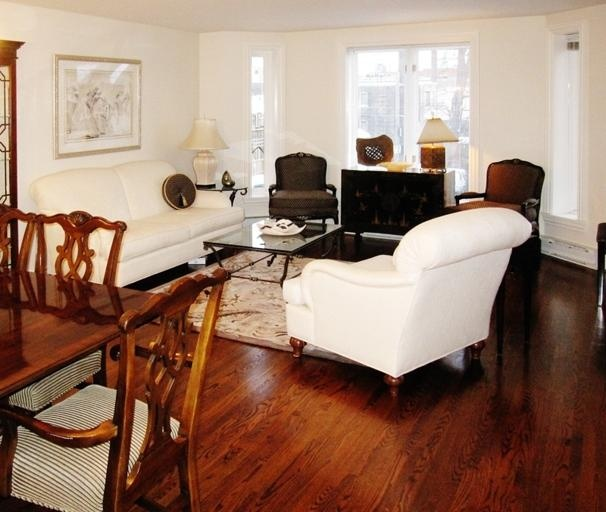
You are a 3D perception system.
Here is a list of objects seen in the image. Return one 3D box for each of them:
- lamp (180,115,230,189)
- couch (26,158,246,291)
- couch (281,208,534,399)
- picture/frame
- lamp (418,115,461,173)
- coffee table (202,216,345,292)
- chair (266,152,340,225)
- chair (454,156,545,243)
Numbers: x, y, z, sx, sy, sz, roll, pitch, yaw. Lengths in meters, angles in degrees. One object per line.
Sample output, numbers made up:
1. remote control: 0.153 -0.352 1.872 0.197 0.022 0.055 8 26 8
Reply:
1. lamp: -1.352 -1.397 6.362 0.590 0.894 0.623 3 11 10
2. couch: -1.759 -0.444 5.255 1.211 1.190 2.275 4 14 22
3. couch: 0.652 0.193 3.101 1.481 1.132 1.422 5 15 26
4. picture/frame: -2.461 -1.793 5.621 0.042 1.115 1.297 19 24 19
5. lamp: 1.682 -1.419 6.023 0.526 0.701 0.575 3 9 19
6. coffee table: -0.350 -0.135 4.524 0.763 0.276 1.151 7 17 20
7. chair: -0.013 -0.949 6.560 0.954 1.291 0.962 0 8 0
8. chair: 2.375 -0.603 5.628 0.803 1.214 0.894 -11 18 -43
